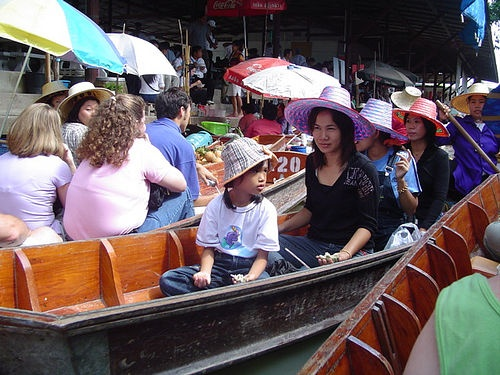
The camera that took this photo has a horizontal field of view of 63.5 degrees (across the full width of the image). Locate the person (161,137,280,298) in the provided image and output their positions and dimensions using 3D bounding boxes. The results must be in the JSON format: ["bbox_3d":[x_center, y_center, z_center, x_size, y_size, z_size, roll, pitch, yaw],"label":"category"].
[{"bbox_3d":[-0.098,0.241,2.643,0.722,1.076,0.803,12,13,40],"label":"person"}]

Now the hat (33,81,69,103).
[{"bbox_3d":[-2.272,-1.101,4.637,0.316,0.143,0.358,-22,-2,-8],"label":"hat"}]

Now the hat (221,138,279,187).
[{"bbox_3d":[-0.001,-0.169,2.717,0.359,0.277,0.199,6,15,-5],"label":"hat"}]

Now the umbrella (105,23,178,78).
[{"bbox_3d":[-1.799,-2.172,6.757,0.998,0.426,1.056,12,15,14],"label":"umbrella"}]

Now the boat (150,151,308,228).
[{"bbox_3d":[-0.231,0.030,3.661,0.524,0.247,0.976,11,26,28],"label":"boat"}]

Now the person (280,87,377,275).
[{"bbox_3d":[0.479,-0.029,3.132,0.919,1.462,0.959,1,10,18],"label":"person"}]

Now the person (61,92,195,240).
[{"bbox_3d":[-0.937,-0.146,3.343,0.780,1.169,0.927,8,10,21],"label":"person"}]
